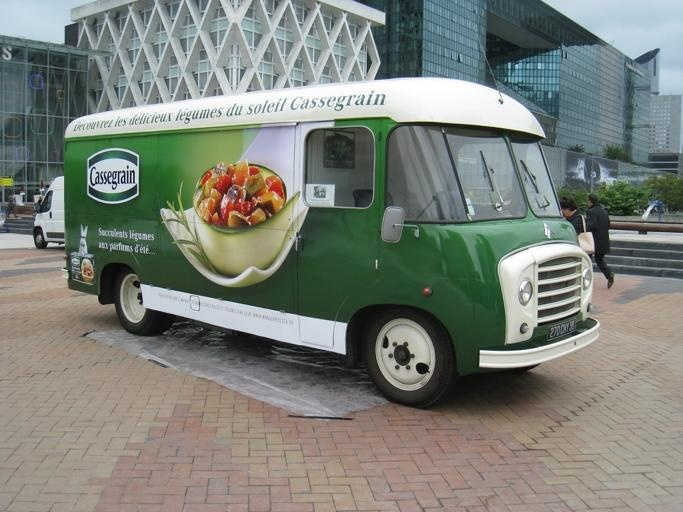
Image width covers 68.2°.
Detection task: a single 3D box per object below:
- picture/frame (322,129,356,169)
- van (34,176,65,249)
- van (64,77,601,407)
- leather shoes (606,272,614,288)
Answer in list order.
[{"bbox_3d":[-0.015,-1.199,5.602,0.453,0.462,0.017,4,6,38],"label":"picture/frame"},{"bbox_3d":[-13.265,-1.936,23.104,0.917,3.182,2.243,-4,7,-45],"label":"van"},{"bbox_3d":[-0.894,-0.450,7.524,8.347,3.647,2.322,5,6,34],"label":"van"},{"bbox_3d":[7.060,0.623,13.353,0.149,0.424,0.182,-1,26,3],"label":"leather shoes"}]
